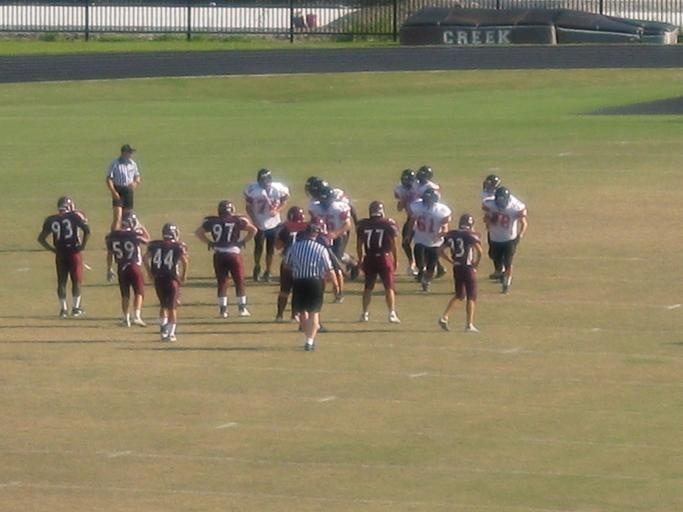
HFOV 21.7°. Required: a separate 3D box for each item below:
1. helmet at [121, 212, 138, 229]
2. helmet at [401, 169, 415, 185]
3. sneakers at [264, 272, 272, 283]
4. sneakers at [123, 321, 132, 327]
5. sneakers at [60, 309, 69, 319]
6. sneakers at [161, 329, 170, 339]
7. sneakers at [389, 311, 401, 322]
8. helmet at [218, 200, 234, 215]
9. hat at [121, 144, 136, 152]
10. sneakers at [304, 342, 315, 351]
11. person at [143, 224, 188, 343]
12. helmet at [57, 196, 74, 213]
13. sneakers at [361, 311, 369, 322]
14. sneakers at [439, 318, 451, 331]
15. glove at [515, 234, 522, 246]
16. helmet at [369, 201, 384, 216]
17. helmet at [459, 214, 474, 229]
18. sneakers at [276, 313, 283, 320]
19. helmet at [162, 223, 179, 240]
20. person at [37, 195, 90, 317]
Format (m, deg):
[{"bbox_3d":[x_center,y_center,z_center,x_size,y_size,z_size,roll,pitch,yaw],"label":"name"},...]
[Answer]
[{"bbox_3d":[-4.390,-0.718,36.842,0.314,0.347,0.371,7,18,34],"label":"helmet"},{"bbox_3d":[1.408,-1.763,39.953,0.305,0.319,0.336,-4,1,11],"label":"helmet"},{"bbox_3d":[-1.634,0.467,39.935,0.259,0.238,0.181,4,38,4],"label":"sneakers"},{"bbox_3d":[-4.401,1.419,36.794,0.163,0.144,0.108,4,53,18],"label":"sneakers"},{"bbox_3d":[-5.816,1.243,37.428,0.176,0.159,0.156,0,4,1],"label":"sneakers"},{"bbox_3d":[-3.554,1.608,35.960,0.184,0.125,0.182,0,1,-19],"label":"sneakers"},{"bbox_3d":[1.084,1.280,36.983,0.151,0.182,0.285,8,17,31],"label":"sneakers"},{"bbox_3d":[-2.476,-1.016,37.368,0.303,0.322,0.342,2,18,16],"label":"helmet"},{"bbox_3d":[-4.990,-2.500,41.915,0.308,0.152,0.214,-6,14,-11],"label":"hat"},{"bbox_3d":[-0.638,1.840,35.604,0.193,0.174,0.114,7,6,15],"label":"sneakers"},{"bbox_3d":[-3.543,0.566,36.087,0.803,2.339,0.656,-1,9,-6],"label":"person"},{"bbox_3d":[-5.783,-1.064,37.735,0.377,0.342,0.289,-5,-6,-27],"label":"helmet"},{"bbox_3d":[0.466,1.295,37.170,0.209,0.221,0.546,3,3,-1],"label":"sneakers"},{"bbox_3d":[2.085,1.458,36.543,0.150,0.330,0.120,-23,33,0],"label":"sneakers"},{"bbox_3d":[3.905,-0.339,39.822,0.238,0.162,0.267,2,51,8],"label":"glove"},{"bbox_3d":[0.708,-0.962,37.314,0.260,0.295,0.305,2,25,6],"label":"helmet"},{"bbox_3d":[2.557,-0.684,36.762,0.326,0.297,0.250,-6,8,15],"label":"helmet"},{"bbox_3d":[-1.305,1.288,37.223,0.149,0.149,0.318,-1,8,-4],"label":"sneakers"},{"bbox_3d":[-3.468,-0.458,36.123,0.290,0.332,0.342,0,-21,-7],"label":"helmet"},{"bbox_3d":[-5.806,0.036,37.628,0.753,2.472,0.870,-7,11,-37],"label":"person"}]
